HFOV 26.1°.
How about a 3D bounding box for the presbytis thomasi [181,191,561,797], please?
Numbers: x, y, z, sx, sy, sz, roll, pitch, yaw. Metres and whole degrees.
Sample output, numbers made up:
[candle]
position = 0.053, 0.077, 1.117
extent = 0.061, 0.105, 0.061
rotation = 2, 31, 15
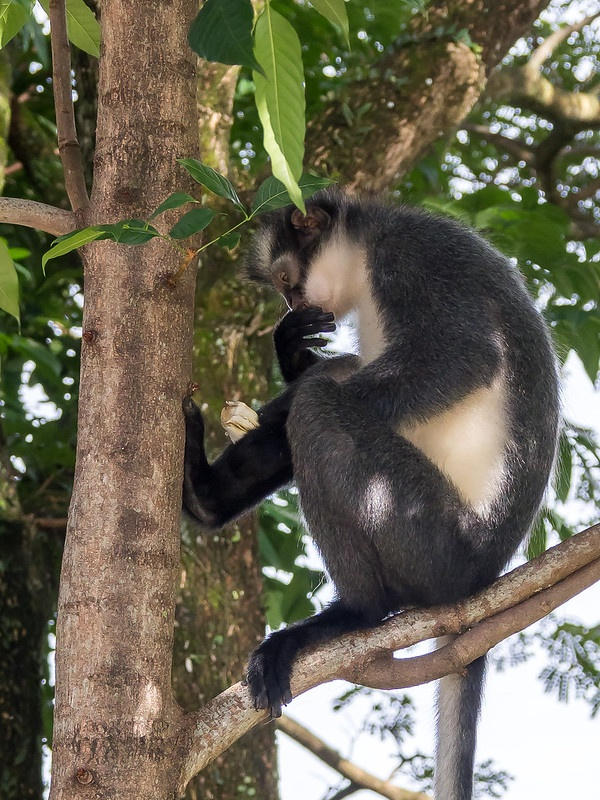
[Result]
[presbytis thomasi]
position = 0.229, 0.013, 3.800
extent = 1.059, 1.937, 0.713
rotation = 0, -29, 9
